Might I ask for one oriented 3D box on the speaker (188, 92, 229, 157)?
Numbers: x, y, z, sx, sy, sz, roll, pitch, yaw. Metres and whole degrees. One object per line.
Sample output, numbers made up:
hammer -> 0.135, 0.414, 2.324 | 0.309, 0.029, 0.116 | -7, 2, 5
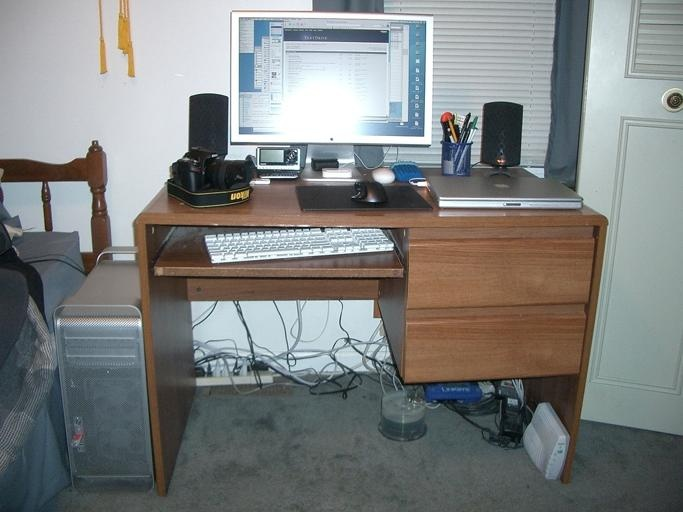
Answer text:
speaker -> -0.508, -0.483, 2.242 | 0.149, 0.238, 0.127 | 0, -5, 0

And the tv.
tv -> -0.042, -0.653, 2.180 | 0.754, 0.474, 0.083 | -1, 18, -2

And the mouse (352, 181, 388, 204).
mouse -> 0.090, -0.210, 1.902 | 0.098, 0.050, 0.070 | 10, 32, 10

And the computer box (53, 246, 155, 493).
computer box -> -0.751, 0.402, 1.989 | 0.293, 0.659, 0.314 | 0, 18, -14

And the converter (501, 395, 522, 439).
converter -> 0.652, 0.620, 2.269 | 0.095, 0.185, 0.132 | 1, 14, 14

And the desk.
desk -> 0.092, 0.251, 2.140 | 1.480, 0.976, 0.573 | -1, 19, -2

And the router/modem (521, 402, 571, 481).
router/modem -> 0.741, 0.673, 2.139 | 0.086, 0.195, 0.203 | 1, 22, -8

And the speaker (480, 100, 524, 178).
speaker -> 0.610, -0.448, 2.275 | 0.098, 0.287, 0.154 | -2, 21, -23

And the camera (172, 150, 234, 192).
camera -> -0.452, -0.285, 1.913 | 0.159, 0.118, 0.146 | 23, 34, 28
